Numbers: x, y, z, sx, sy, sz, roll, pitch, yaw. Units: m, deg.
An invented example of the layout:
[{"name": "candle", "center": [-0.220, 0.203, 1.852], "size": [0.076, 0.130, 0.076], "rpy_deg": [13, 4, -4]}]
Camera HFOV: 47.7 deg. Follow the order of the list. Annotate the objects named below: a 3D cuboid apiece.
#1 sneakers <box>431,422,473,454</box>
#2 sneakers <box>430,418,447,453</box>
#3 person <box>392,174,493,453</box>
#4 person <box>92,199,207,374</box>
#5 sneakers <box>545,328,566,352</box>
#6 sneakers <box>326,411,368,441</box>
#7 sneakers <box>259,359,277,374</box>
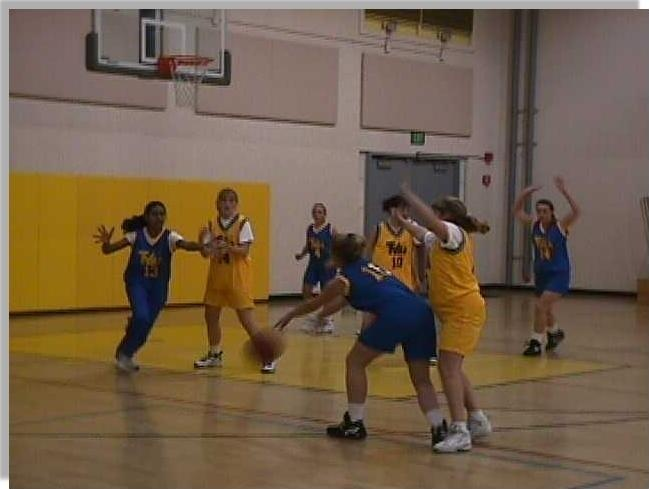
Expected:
[{"name": "sneakers", "center": [0.895, 1.383, 5.282], "size": [0.286, 0.210, 0.151], "rpy_deg": [1, -3, -11]}, {"name": "sneakers", "center": [0.812, 1.360, 5.257], "size": [0.145, 0.216, 0.467], "rpy_deg": [-5, -11, 9]}, {"name": "person", "center": [0.892, 0.524, 5.310], "size": [0.598, 1.901, 0.358], "rpy_deg": [-1, 5, 9]}, {"name": "person", "center": [-1.713, 0.419, 7.250], "size": [0.944, 1.671, 1.562], "rpy_deg": [-3, 5, -18]}, {"name": "sneakers", "center": [2.582, 1.077, 8.249], "size": [0.110, 0.267, 0.354], "rpy_deg": [7, 32, 38]}, {"name": "sneakers", "center": [0.169, 1.366, 5.535], "size": [0.353, 0.248, 0.139], "rpy_deg": [3, -1, 22]}, {"name": "sneakers", "center": [-0.557, 1.179, 7.109], "size": [0.075, 0.119, 0.249], "rpy_deg": [2, 1, -1]}]
